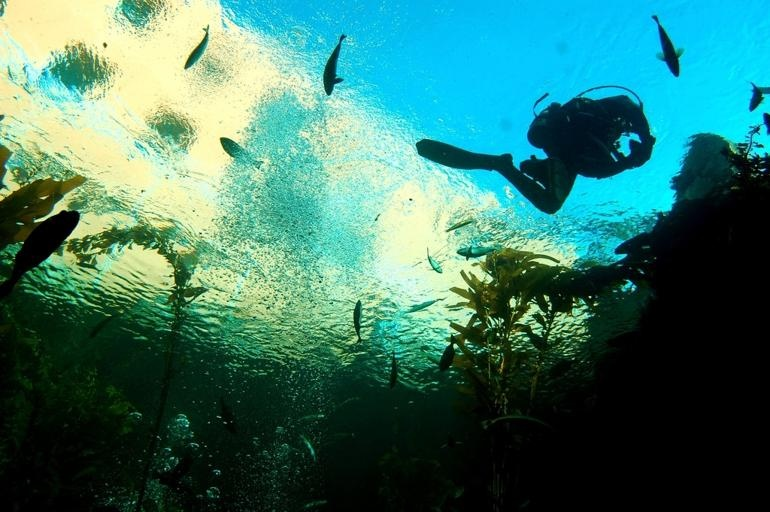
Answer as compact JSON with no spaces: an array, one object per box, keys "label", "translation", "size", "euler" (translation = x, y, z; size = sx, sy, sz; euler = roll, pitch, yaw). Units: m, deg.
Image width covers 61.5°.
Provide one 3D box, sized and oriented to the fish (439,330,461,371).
[{"label":"fish","translation":[1.271,1.920,12.818],"size":[0.367,0.398,0.675],"euler":[6,-68,-23]}]
